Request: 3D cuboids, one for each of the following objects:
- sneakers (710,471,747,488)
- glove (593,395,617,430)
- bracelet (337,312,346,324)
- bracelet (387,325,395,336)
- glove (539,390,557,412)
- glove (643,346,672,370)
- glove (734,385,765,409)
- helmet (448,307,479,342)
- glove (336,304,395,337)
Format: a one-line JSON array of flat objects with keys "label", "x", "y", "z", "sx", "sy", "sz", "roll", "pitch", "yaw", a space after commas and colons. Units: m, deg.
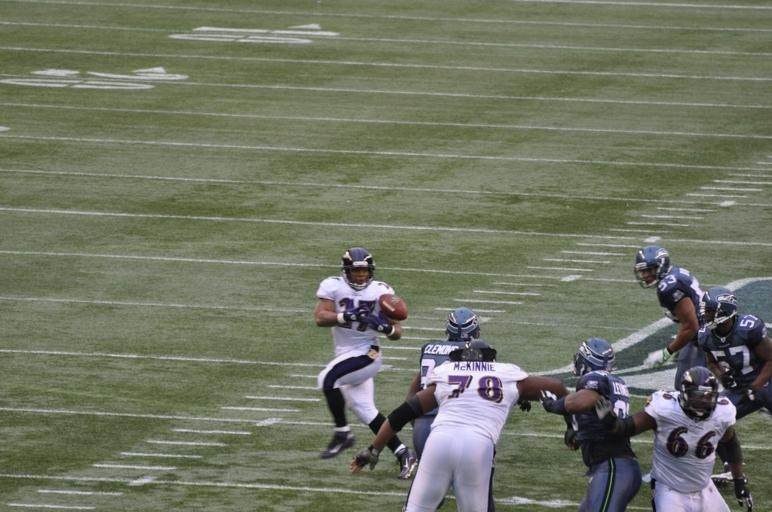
[{"label": "sneakers", "x": 5.634, "y": 3.602, "z": 33.495, "sx": 0.460, "sy": 0.124, "sz": 0.296, "roll": 8, "pitch": -6, "yaw": -14}, {"label": "glove", "x": 3.473, "y": 2.409, "z": 31.877, "sx": 0.370, "sy": 0.522, "sz": 0.166, "roll": 27, "pitch": -64, "yaw": -21}, {"label": "bracelet", "x": -0.681, "y": 1.006, "z": 33.775, "sx": 0.192, "sy": 0.136, "sz": 0.165, "roll": 1, "pitch": -5, "yaw": -3}, {"label": "bracelet", "x": 0.149, "y": 1.222, "z": 33.742, "sx": 0.163, "sy": 0.126, "sz": 0.146, "roll": 10, "pitch": -13, "yaw": -13}, {"label": "glove", "x": 2.563, "y": 2.248, "z": 32.104, "sx": 0.217, "sy": 0.380, "sz": 0.159, "roll": 12, "pitch": -32, "yaw": -32}, {"label": "glove", "x": 4.695, "y": 1.733, "z": 35.024, "sx": 0.723, "sy": 0.192, "sz": 0.161, "roll": -17, "pitch": -34, "yaw": -5}, {"label": "glove", "x": 6.036, "y": 2.281, "z": 33.503, "sx": 0.405, "sy": 0.109, "sz": 0.319, "roll": -36, "pitch": -65, "yaw": 29}, {"label": "helmet", "x": 1.284, "y": 1.080, "z": 33.273, "sx": 0.531, "sy": 0.475, "sz": 0.595, "roll": 3, "pitch": 9, "yaw": 12}, {"label": "glove", "x": -0.276, "y": 1.037, "z": 33.871, "sx": 1.081, "sy": 0.333, "sz": 0.376, "roll": 16, "pitch": -16, "yaw": -2}]
